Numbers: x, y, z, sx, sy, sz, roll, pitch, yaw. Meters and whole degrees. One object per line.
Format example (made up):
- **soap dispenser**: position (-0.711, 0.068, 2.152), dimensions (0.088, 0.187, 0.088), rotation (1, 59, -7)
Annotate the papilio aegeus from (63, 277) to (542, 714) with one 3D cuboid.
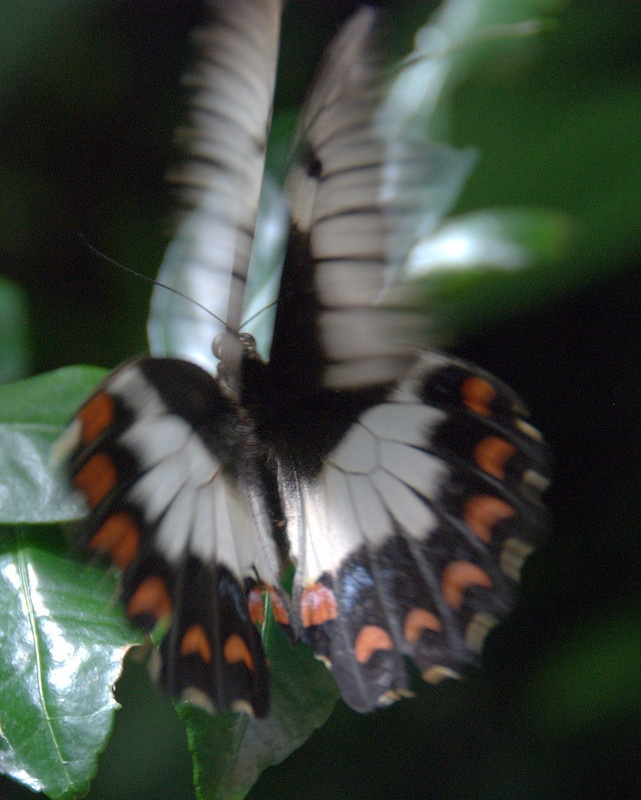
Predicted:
- **papilio aegeus**: position (0.016, 0.087, 0.635), dimensions (0.322, 0.189, 0.275), rotation (-15, 79, 0)
